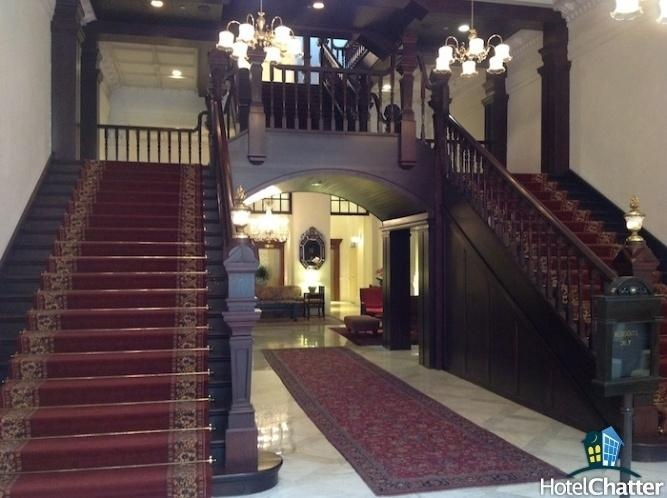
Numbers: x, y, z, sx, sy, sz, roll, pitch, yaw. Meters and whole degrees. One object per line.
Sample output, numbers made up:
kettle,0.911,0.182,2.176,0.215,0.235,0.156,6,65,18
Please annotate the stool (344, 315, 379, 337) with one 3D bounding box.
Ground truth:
stool,0.622,1.664,12.751,0.725,0.452,0.723,-1,5,-4

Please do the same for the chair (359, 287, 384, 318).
chair,0.953,1.305,14.536,0.550,0.941,0.699,0,-3,7

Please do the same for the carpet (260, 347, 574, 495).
carpet,0.742,2.022,6.984,1.944,0.086,3.706,-3,5,-18
